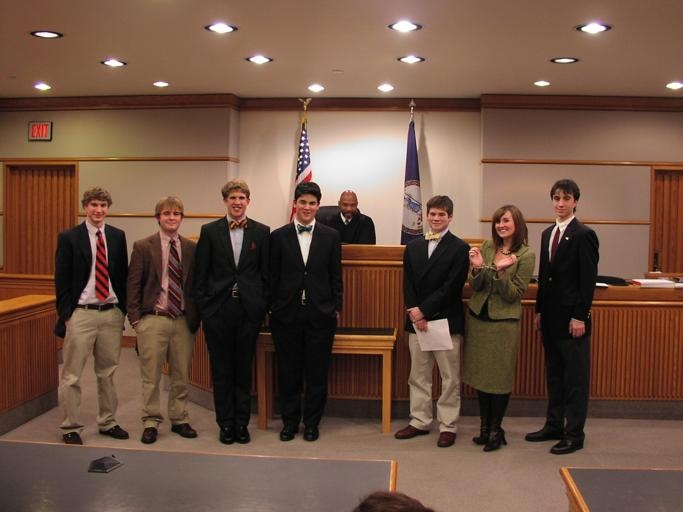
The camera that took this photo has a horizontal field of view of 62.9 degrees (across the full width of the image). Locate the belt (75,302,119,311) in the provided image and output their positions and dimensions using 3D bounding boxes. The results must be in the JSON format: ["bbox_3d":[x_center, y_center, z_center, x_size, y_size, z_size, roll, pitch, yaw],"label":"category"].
[{"bbox_3d":[-1.923,0.408,4.385,0.283,0.067,0.043,-4,9,-21],"label":"belt"}]

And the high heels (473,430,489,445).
[{"bbox_3d":[1.108,1.460,4.497,0.144,0.114,0.064,2,-5,7],"label":"high heels"}]

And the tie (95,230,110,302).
[{"bbox_3d":[-1.857,0.097,4.357,0.116,0.706,0.051,-4,38,-23],"label":"tie"}]

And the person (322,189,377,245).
[{"bbox_3d":[0.050,-0.318,6.333,0.657,0.841,0.420,2,15,-1],"label":"person"}]

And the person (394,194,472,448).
[{"bbox_3d":[0.731,0.519,4.515,0.554,1.971,0.508,2,9,12],"label":"person"}]

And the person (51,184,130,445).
[{"bbox_3d":[-1.963,0.491,4.407,0.577,2.027,0.380,-5,9,-27],"label":"person"}]

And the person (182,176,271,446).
[{"bbox_3d":[-0.852,0.447,4.432,0.606,2.050,0.365,-3,9,-15],"label":"person"}]

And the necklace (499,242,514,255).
[{"bbox_3d":[1.272,-0.049,4.354,0.063,0.030,0.090,-4,39,14],"label":"necklace"}]

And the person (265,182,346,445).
[{"bbox_3d":[-0.289,0.446,4.503,0.584,2.042,0.382,-1,8,-6],"label":"person"}]

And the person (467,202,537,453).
[{"bbox_3d":[1.222,0.560,4.426,0.513,1.887,0.469,-1,8,-6],"label":"person"}]

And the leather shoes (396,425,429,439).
[{"bbox_3d":[0.577,1.446,4.642,0.276,0.125,0.105,3,-3,-18],"label":"leather shoes"}]

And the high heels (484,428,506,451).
[{"bbox_3d":[1.194,1.443,4.360,0.092,0.153,0.279,-16,-17,36],"label":"high heels"}]

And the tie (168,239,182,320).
[{"bbox_3d":[-1.325,0.177,4.431,0.114,0.597,0.110,-3,9,-15],"label":"tie"}]

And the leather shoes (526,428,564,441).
[{"bbox_3d":[1.627,1.449,4.553,0.311,0.137,0.119,2,-3,-3],"label":"leather shoes"}]

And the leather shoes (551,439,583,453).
[{"bbox_3d":[1.735,1.452,4.318,0.250,0.110,0.102,2,-3,-12],"label":"leather shoes"}]
